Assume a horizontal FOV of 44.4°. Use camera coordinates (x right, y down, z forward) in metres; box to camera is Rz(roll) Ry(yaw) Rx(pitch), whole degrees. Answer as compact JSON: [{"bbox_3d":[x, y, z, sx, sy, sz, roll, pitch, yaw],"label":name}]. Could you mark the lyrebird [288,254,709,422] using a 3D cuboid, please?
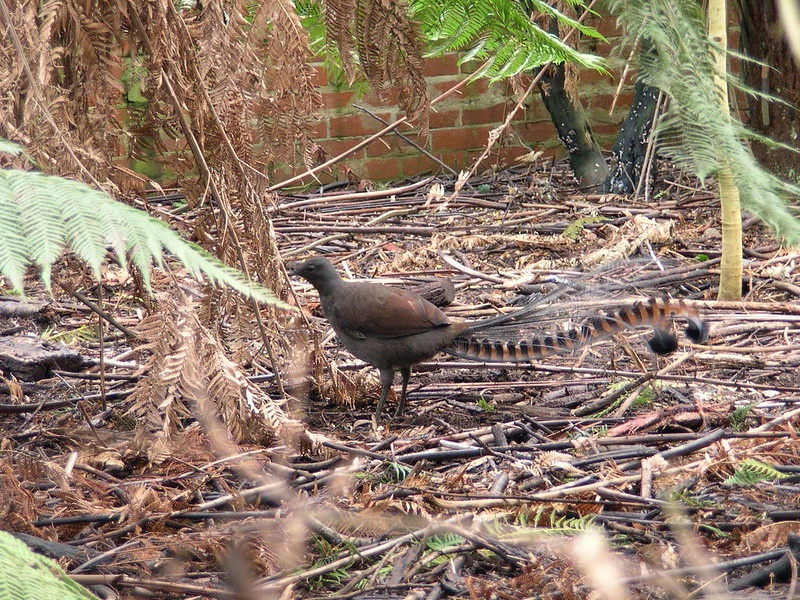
[{"bbox_3d":[0.355,0.194,4.186,1.875,0.663,0.363,2,2,27],"label":"lyrebird"}]
